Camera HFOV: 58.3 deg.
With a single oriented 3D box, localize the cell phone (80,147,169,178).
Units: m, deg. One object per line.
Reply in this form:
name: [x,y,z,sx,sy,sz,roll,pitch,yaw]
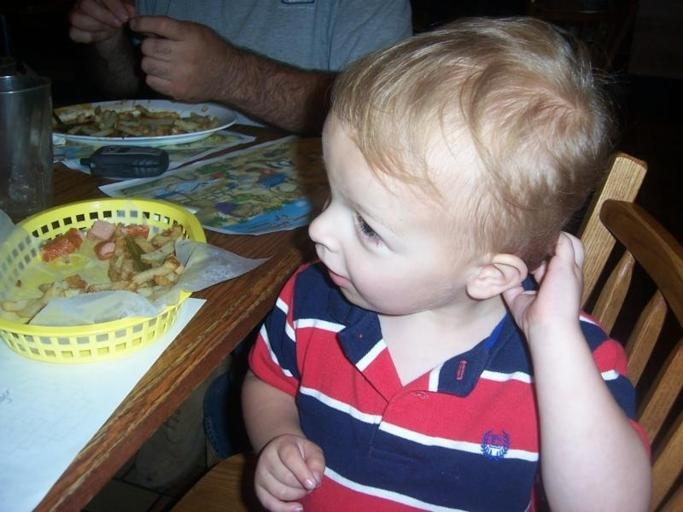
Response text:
cell phone: [-0.504,-0.227,1.431,0.141,0.047,0.095,3,23,1]
